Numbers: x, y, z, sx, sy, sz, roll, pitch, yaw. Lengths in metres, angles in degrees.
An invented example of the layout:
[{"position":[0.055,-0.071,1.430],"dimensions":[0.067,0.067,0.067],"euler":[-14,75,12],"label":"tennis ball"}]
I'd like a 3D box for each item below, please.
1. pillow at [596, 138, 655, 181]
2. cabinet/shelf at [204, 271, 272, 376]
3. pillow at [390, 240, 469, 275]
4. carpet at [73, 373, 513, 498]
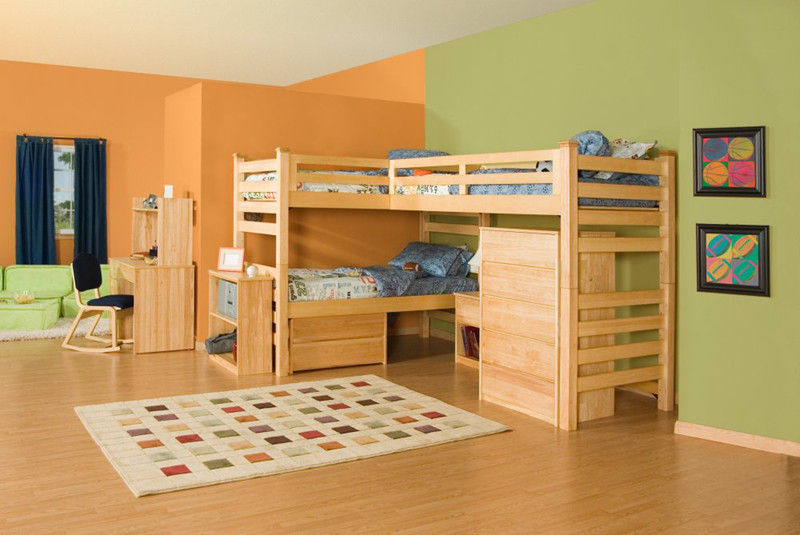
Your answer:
[{"position":[1.969,-0.943,5.317],"dimensions":[0.359,0.363,0.967],"euler":[10,13,33],"label":"pillow"},{"position":[-1.757,0.566,6.607],"dimensions":[0.528,0.850,1.243],"euler":[-1,4,-27],"label":"cabinet/shelf"},{"position":[0.305,-0.109,7.119],"dimensions":[0.798,0.192,0.428],"euler":[6,41,26],"label":"pillow"},{"position":[-0.996,1.234,4.864],"dimensions":[2.701,0.042,1.738],"euler":[-4,11,-27],"label":"carpet"}]
